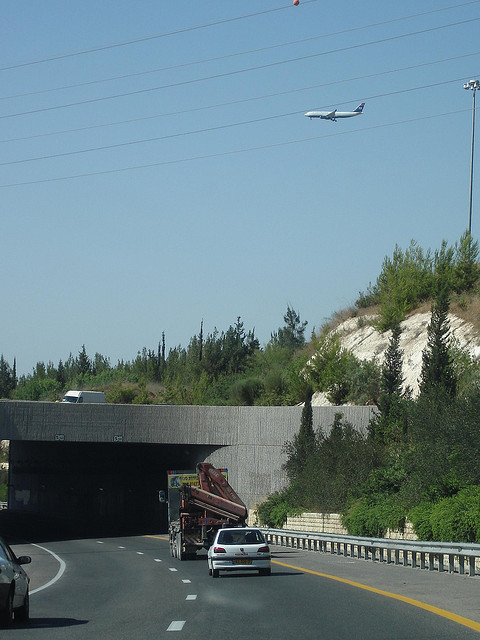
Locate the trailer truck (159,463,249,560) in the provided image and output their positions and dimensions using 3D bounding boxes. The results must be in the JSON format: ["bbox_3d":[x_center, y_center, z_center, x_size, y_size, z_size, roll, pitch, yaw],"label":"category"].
[{"bbox_3d":[-1.433,6.600,44.939,1.686,2.762,3.781,0,-4,-10],"label":"trailer truck"}]

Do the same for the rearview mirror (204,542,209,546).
[{"bbox_3d":[-1.098,7.551,42.771,0.147,0.106,0.313,2,-9,-2],"label":"rearview mirror"}]

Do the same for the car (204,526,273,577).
[{"bbox_3d":[-0.075,6.441,35.122,1.433,1.793,3.037,0,-1,-4],"label":"car"}]
